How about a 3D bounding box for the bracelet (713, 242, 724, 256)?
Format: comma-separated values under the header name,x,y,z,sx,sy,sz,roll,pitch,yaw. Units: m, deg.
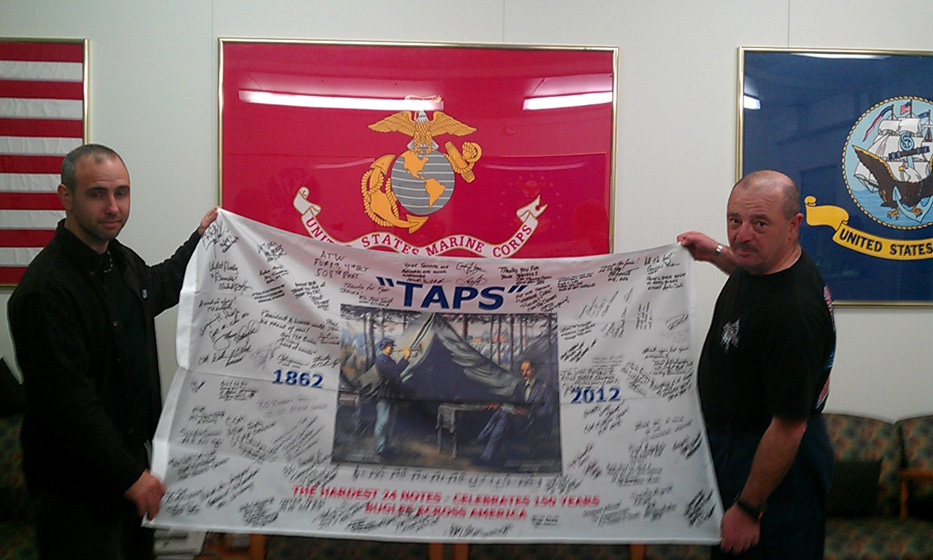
name,x,y,z,sx,sy,sz,roll,pitch,yaw
bracelet,1.474,-0.173,5.416,0.038,0.059,0.061,11,11,3
